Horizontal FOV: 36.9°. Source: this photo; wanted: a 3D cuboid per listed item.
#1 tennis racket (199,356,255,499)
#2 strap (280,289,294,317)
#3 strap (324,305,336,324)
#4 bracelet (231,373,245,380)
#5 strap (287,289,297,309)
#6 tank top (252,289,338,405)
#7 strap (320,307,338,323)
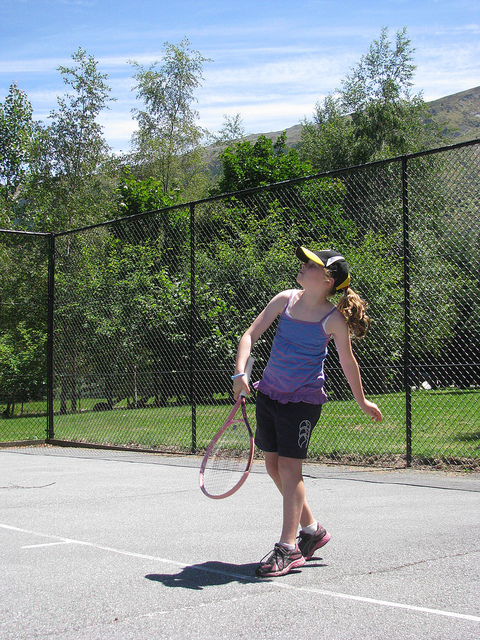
[{"bbox_3d":[-0.099,0.945,5.624,0.585,1.208,0.668,2,2,0],"label":"tennis racket"},{"bbox_3d":[0.266,-0.087,3.812,0.024,0.128,0.075,36,-3,-23],"label":"strap"},{"bbox_3d":[0.461,-0.026,3.679,0.055,0.092,0.019,21,6,21],"label":"strap"},{"bbox_3d":[-0.005,0.284,3.646,0.061,0.032,0.160,-1,-1,-1],"label":"bracelet"},{"bbox_3d":[0.288,-0.108,3.815,0.017,0.089,0.050,37,-12,-30],"label":"strap"},{"bbox_3d":[0.301,0.141,3.746,0.393,0.578,0.274,12,8,10],"label":"tank top"},{"bbox_3d":[0.452,-0.027,3.679,0.134,0.022,0.033,-40,19,-17],"label":"strap"}]
